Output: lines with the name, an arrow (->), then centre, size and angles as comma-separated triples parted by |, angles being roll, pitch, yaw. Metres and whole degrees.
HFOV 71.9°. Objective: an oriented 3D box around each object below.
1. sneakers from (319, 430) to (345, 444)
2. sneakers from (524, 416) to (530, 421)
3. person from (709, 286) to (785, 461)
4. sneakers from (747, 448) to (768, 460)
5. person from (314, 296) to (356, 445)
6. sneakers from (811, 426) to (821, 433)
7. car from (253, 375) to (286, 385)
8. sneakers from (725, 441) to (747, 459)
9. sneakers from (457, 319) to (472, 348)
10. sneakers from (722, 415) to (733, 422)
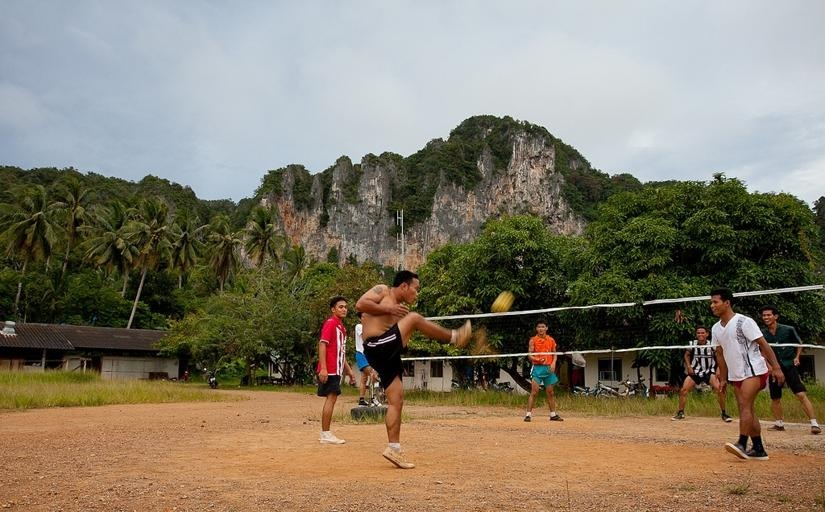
sneakers -> -1.485, 3.259, 10.260 | 0.520, 0.237, 0.192 | 3, -6, -4
sneakers -> 2.695, 3.839, 13.451 | 0.171, 0.146, 0.329 | -4, -15, 10
person -> 5.458, 1.965, 9.516 | 0.909, 2.794, 0.899 | 7, -16, -9
sneakers -> 5.642, 3.240, 9.308 | 0.467, 0.188, 0.156 | 5, -15, -21
person -> -1.489, 2.051, 10.491 | 0.506, 2.703, 0.512 | 2, -14, -9
sneakers -> 8.315, 3.588, 11.746 | 0.114, 0.139, 0.323 | -5, -21, 13
car -> -9.083, 7.852, 35.719 | 1.437, 0.699, 4.010 | 4, -16, -19
sneakers -> 5.280, 3.179, 9.295 | 0.342, 0.153, 0.143 | 28, -44, 25
sneakers -> 0.788, 1.323, 9.085 | 0.203, 0.169, 0.493 | 15, -32, 1
sneakers -> 7.615, 3.951, 13.815 | 0.138, 0.158, 0.389 | -1, -8, 20
